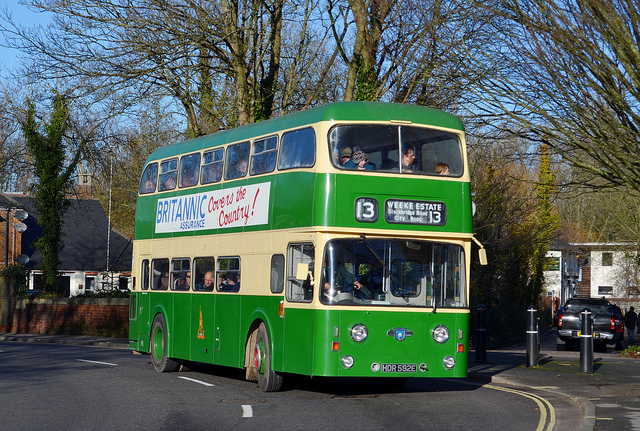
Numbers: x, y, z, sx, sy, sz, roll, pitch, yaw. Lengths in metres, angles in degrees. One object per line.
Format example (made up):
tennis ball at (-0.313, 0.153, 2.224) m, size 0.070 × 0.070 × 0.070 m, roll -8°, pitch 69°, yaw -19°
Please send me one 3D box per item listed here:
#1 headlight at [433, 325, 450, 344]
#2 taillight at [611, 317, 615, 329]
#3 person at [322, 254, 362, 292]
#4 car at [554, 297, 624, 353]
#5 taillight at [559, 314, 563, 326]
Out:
headlight at (2.672, 2.617, 14.819) m, size 0.333 × 0.384 × 0.091 m, roll 3°, pitch -3°, yaw -19°
taillight at (13.664, 4.983, 31.278) m, size 0.253 × 0.524 × 0.071 m, roll 7°, pitch -12°, yaw -35°
person at (0.504, 1.246, 14.560) m, size 0.713 × 0.876 × 0.594 m, roll 6°, pitch 0°, yaw 6°
car at (12.599, 4.956, 31.489) m, size 2.581 × 2.723 × 6.499 m, roll -5°, pitch -13°, yaw 28°
taillight at (11.200, 4.837, 31.162) m, size 0.163 × 0.550 × 0.202 m, roll -3°, pitch -10°, yaw 21°
